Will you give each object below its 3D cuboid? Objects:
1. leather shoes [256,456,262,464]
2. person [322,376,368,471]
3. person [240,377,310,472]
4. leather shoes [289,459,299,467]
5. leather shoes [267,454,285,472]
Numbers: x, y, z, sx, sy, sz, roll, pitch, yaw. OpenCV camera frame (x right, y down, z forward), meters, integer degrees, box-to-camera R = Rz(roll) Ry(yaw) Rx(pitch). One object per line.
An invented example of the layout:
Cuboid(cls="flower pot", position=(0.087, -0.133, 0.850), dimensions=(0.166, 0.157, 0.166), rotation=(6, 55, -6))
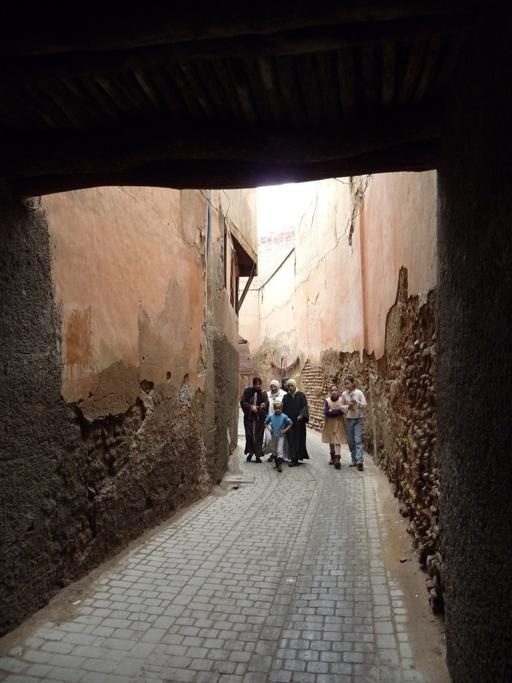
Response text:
Cuboid(cls="leather shoes", position=(0.062, 2.221, 9.026), dimensions=(0.056, 0.149, 0.098), rotation=(3, 4, 24))
Cuboid(cls="person", position=(1.463, 1.341, 8.065), dimensions=(0.692, 1.495, 1.071), rotation=(-1, -5, 10))
Cuboid(cls="person", position=(0.210, 1.448, 8.768), dimensions=(0.975, 1.537, 1.939), rotation=(0, -5, -6))
Cuboid(cls="leather shoes", position=(0.659, 2.126, 8.468), dimensions=(0.167, 0.102, 0.405), rotation=(-1, -6, 5))
Cuboid(cls="leather shoes", position=(0.368, 2.046, 8.120), dimensions=(0.121, 0.274, 0.492), rotation=(1, 2, -6))
